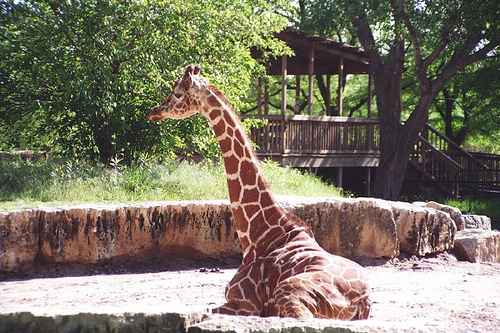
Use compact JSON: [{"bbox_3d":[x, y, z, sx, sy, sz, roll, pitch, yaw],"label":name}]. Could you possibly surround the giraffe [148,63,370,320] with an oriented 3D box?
[{"bbox_3d":[0.092,0.665,18.311,6.280,8.981,2.670,3,-27,13],"label":"giraffe"}]
